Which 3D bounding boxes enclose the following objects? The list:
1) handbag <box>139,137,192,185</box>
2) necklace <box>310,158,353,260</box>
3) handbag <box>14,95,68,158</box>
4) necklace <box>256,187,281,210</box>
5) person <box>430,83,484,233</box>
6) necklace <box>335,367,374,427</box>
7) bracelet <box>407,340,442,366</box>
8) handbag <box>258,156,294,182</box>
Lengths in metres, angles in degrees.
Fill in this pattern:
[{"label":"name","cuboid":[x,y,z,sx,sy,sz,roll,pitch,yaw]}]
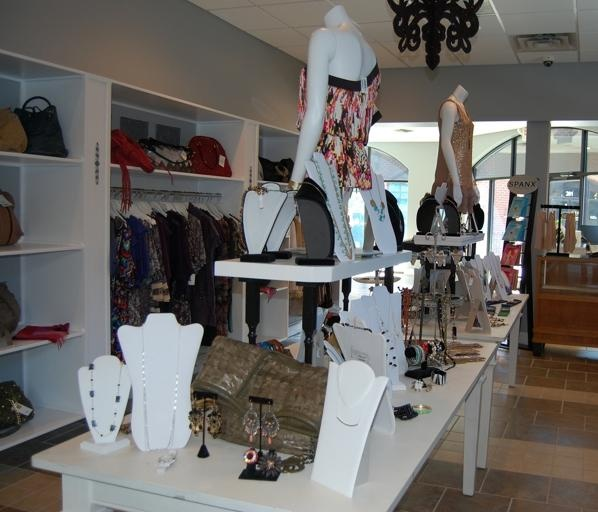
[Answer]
[{"label":"handbag","cuboid":[-1.123,-0.808,4.259,0.270,0.196,0.395,3,2,8]},{"label":"necklace","cuboid":[0.126,-0.177,1.747,0.070,0.325,0.219,-10,-18,10]},{"label":"handbag","cuboid":[-1.678,-0.831,3.226,0.366,0.440,0.180,0,-9,-3]},{"label":"necklace","cuboid":[-0.116,-0.207,1.810,0.065,0.078,0.020,4,-10,5]},{"label":"person","cuboid":[1.247,-0.826,3.859,0.405,1.139,0.977,3,4,21]},{"label":"necklace","cuboid":[0.133,0.335,1.207,0.110,0.152,0.046,5,5,44]},{"label":"bracelet","cuboid":[0.595,0.453,2.349,0.099,0.098,0.162,-9,2,40]},{"label":"handbag","cuboid":[-0.271,-1.014,5.802,0.549,0.239,0.599,4,8,26]}]
